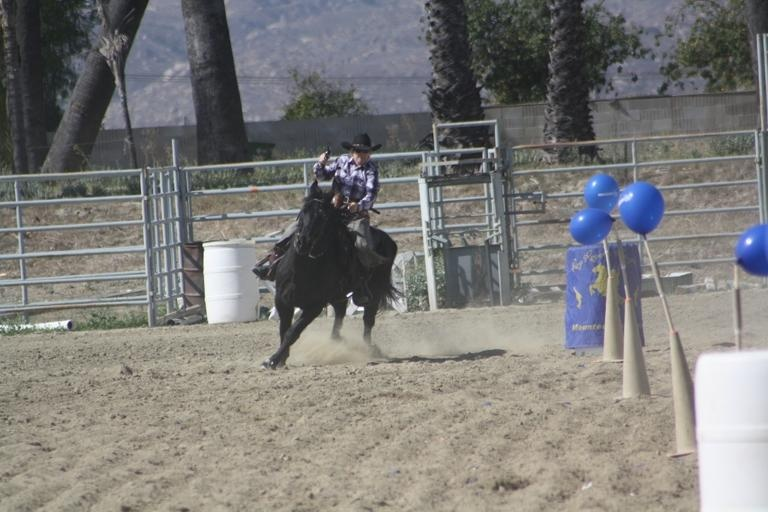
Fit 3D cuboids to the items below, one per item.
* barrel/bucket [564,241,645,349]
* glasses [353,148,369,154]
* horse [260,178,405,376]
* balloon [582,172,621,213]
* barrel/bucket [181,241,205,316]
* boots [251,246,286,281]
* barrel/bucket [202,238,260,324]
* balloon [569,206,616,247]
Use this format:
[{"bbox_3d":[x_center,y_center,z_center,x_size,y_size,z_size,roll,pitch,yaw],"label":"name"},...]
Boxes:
[{"bbox_3d":[4.966,0.842,34.934,1.358,2.874,1.195,-1,0,-13],"label":"barrel/bucket"},{"bbox_3d":[-0.550,-2.512,36.102,0.308,0.076,0.062,-4,1,-5],"label":"glasses"},{"bbox_3d":[-1.203,0.474,38.009,1.959,4.747,8.382,15,4,13],"label":"horse"},{"bbox_3d":[5.069,-1.404,34.900,0.844,1.099,0.906,5,2,0],"label":"balloon"},{"bbox_3d":[-5.061,0.579,39.807,0.679,1.903,0.271,-3,1,29],"label":"barrel/bucket"},{"bbox_3d":[-2.790,0.249,36.082,0.399,0.557,1.187,33,-8,-7],"label":"boots"},{"bbox_3d":[-3.950,0.731,39.074,1.165,2.419,1.228,0,-2,0],"label":"barrel/bucket"},{"bbox_3d":[4.734,-0.681,34.314,1.070,0.977,0.906,-14,-10,16],"label":"balloon"}]
